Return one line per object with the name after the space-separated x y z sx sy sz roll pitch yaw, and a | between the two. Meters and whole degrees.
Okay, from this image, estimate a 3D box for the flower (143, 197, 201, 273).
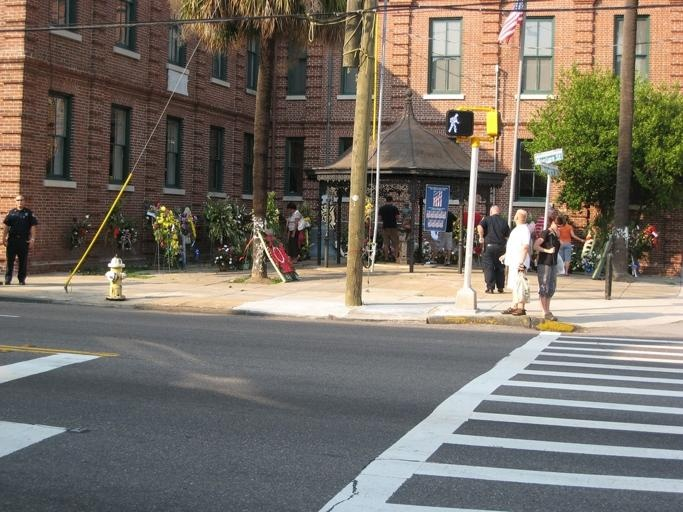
-5.160 -0.785 25.727 1.229 1.810 0.991 -12 20 -38 | flower

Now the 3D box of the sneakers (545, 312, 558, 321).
4.255 1.209 16.413 0.197 0.182 0.417 5 6 32 | sneakers

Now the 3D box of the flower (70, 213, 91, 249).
-7.792 -0.743 24.360 0.367 0.981 0.914 1 5 -1 | flower

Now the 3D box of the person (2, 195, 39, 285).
-8.289 -0.448 21.021 0.797 2.219 1.432 -1 5 -23 | person

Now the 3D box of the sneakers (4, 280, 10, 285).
-8.438 0.633 20.600 0.158 0.166 0.267 -1 6 -23 | sneakers
